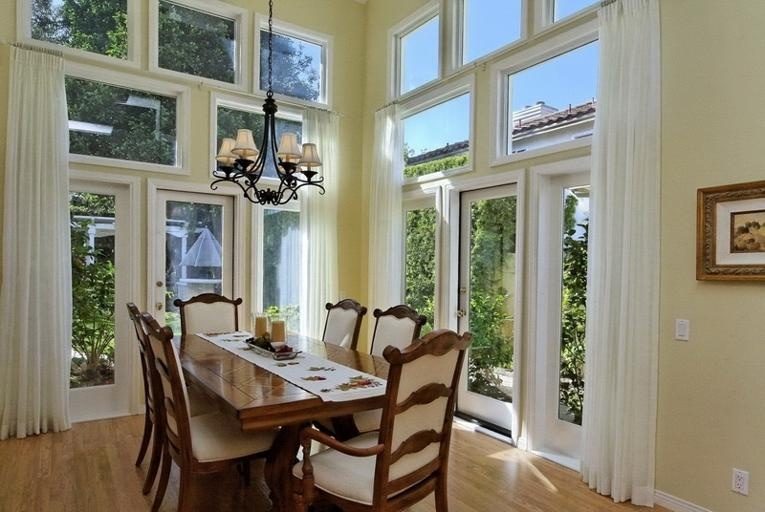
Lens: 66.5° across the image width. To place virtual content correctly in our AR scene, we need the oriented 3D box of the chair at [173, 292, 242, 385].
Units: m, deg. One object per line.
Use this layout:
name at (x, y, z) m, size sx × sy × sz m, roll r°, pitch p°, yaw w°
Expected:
chair at (-1.773, 0.706, 5.949) m, size 0.566 × 0.939 × 0.516 m, roll 2°, pitch -8°, yaw -27°

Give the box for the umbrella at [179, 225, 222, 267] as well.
umbrella at (-2.033, -0.088, 6.596) m, size 0.428 × 0.384 × 0.390 m, roll 2°, pitch -3°, yaw -14°
